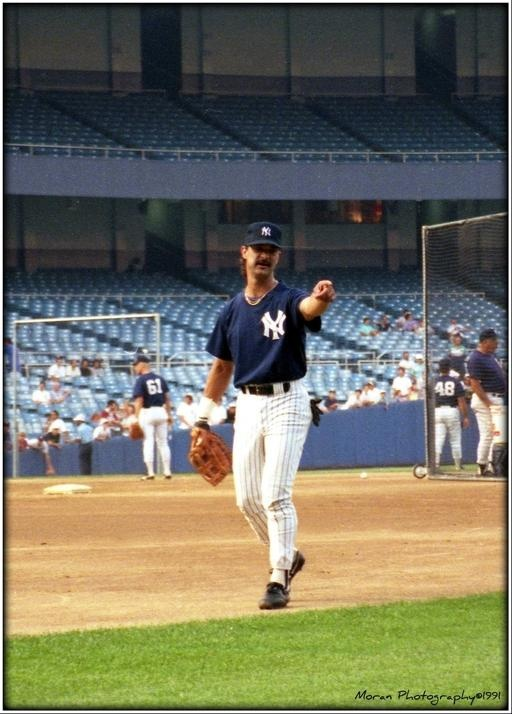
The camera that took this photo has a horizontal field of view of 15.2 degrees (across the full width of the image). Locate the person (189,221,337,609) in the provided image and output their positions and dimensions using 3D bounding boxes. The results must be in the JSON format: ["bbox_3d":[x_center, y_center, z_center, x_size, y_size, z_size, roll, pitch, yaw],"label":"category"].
[{"bbox_3d":[0.172,0.562,20.787,0.860,3.956,1.417,-8,12,-33],"label":"person"}]

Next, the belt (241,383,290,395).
[{"bbox_3d":[0.120,0.335,20.624,0.524,0.133,0.067,1,10,11],"label":"belt"}]

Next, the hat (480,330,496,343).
[{"bbox_3d":[3.326,-0.293,27.139,0.139,0.202,0.192,1,32,-33],"label":"hat"}]

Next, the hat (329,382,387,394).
[{"bbox_3d":[1.896,0.570,35.627,0.558,0.141,0.432,-5,-4,32],"label":"hat"}]

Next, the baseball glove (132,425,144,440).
[{"bbox_3d":[-1.823,1.133,29.638,0.160,0.234,0.213,8,-15,-27],"label":"baseball glove"}]

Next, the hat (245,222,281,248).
[{"bbox_3d":[0.092,-1.300,20.682,0.391,0.255,0.267,-2,10,-6],"label":"hat"}]

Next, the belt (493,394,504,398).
[{"bbox_3d":[3.490,0.544,27.085,0.129,0.053,0.042,1,10,9],"label":"belt"}]

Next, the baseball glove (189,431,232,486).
[{"bbox_3d":[-0.484,1.072,21.204,0.474,0.573,0.167,-38,11,0],"label":"baseball glove"}]
